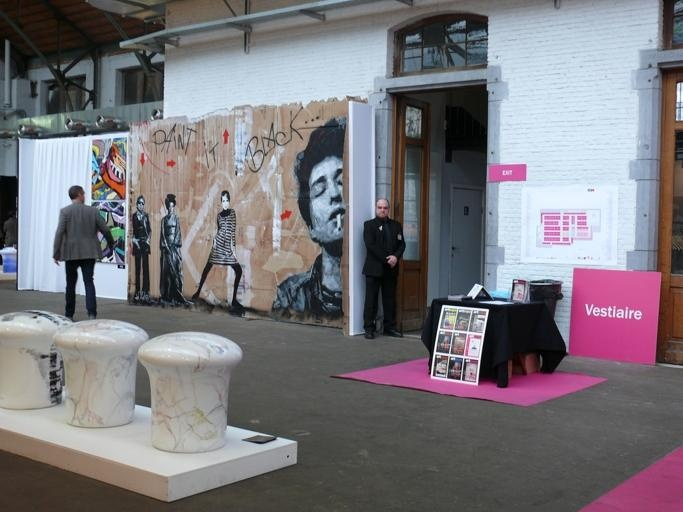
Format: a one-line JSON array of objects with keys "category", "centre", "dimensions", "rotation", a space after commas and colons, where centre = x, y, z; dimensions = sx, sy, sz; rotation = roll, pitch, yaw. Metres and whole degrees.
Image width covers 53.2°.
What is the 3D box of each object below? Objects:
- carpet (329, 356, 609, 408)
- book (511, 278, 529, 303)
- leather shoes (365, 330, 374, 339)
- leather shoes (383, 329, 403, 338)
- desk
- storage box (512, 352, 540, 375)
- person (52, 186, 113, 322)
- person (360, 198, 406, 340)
[{"category": "carpet", "centre": [1.405, 1.294, 7.017], "dimensions": [2.579, 0.035, 1.429], "rotation": [2, 5, 14]}, {"category": "book", "centre": [1.961, 0.373, 7.416], "dimensions": [0.057, 0.225, 0.185], "rotation": [12, -7, -35]}, {"category": "leather shoes", "centre": [0.388, 1.067, 9.411], "dimensions": [0.140, 0.096, 0.210], "rotation": [1, 5, 2]}, {"category": "leather shoes", "centre": [0.727, 1.086, 9.669], "dimensions": [0.240, 0.124, 0.108], "rotation": [1, 2, 16]}, {"category": "desk", "centre": [1.896, 0.826, 7.292], "dimensions": [0.963, 0.744, 1.002], "rotation": [1, -1, 41]}, {"category": "storage box", "centre": [2.018, 1.180, 7.588], "dimensions": [0.363, 0.255, 0.250], "rotation": [-3, -7, -38]}, {"category": "person", "centre": [-3.787, -0.028, 9.878], "dimensions": [0.755, 1.983, 0.991], "rotation": [-2, 4, -32]}, {"category": "person", "centre": [0.585, 0.167, 9.486], "dimensions": [0.599, 1.920, 0.494], "rotation": [0, 3, -13]}]
